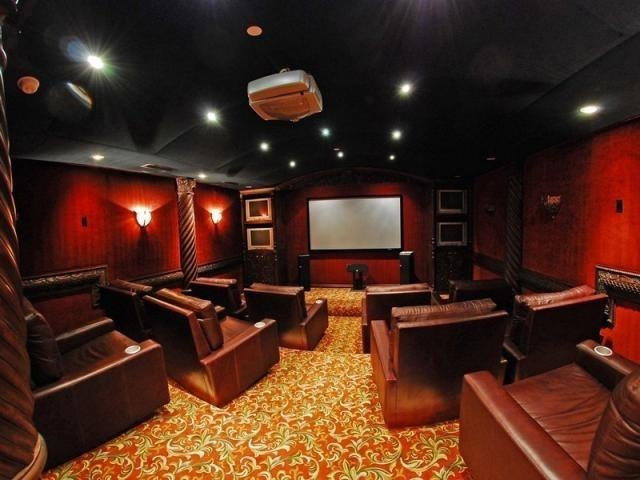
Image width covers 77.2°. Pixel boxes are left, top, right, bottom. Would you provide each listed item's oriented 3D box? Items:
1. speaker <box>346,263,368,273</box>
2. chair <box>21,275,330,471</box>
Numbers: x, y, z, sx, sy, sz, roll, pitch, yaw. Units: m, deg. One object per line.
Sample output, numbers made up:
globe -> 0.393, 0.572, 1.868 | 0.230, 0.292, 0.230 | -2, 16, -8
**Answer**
speaker -> 0.793, 0.603, 8.439 | 0.423, 0.170, 0.448 | -2, 2, 11
chair -> -1.847, 1.266, 4.646 | 2.358, 2.202, 2.591 | 0, 4, 25
